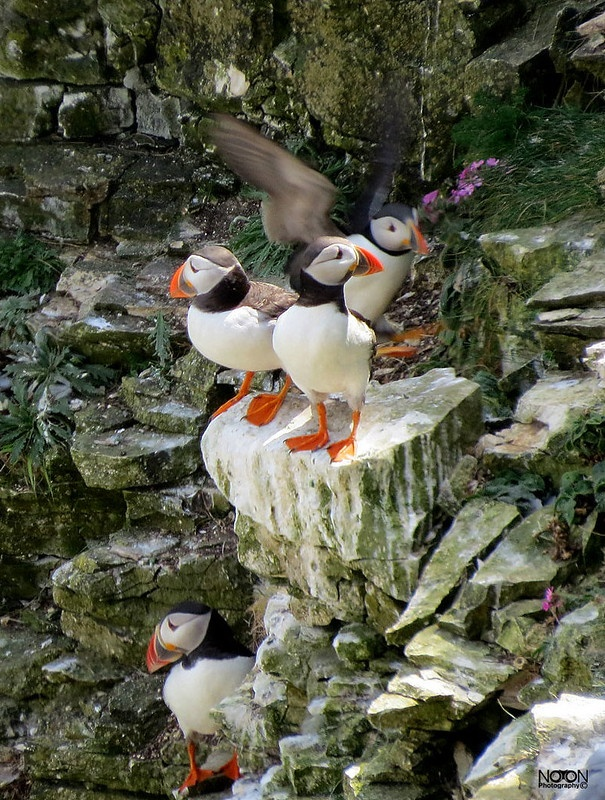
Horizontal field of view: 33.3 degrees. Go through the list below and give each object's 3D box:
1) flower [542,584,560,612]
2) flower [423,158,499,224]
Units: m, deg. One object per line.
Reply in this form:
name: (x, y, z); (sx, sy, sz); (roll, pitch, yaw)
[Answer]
flower: (0.856, 0.687, 3.477); (0.044, 0.068, 0.072); (15, 27, -6)
flower: (0.876, -1.172, 5.573); (0.376, 0.140, 0.293); (-44, 1, 8)
